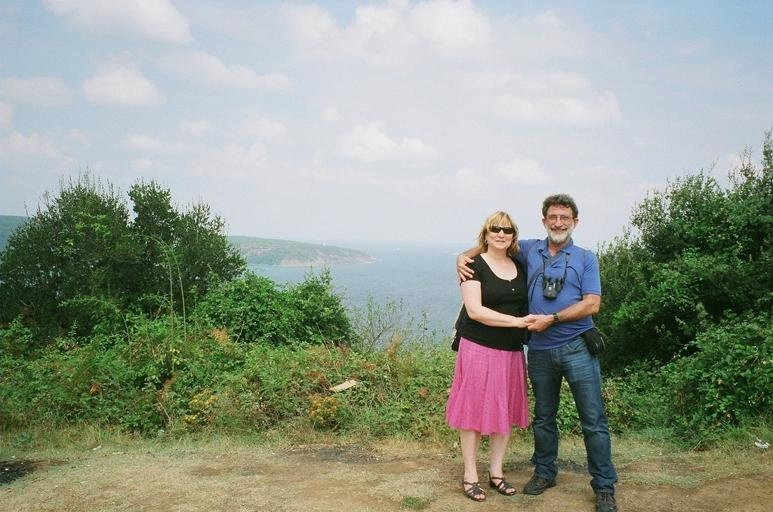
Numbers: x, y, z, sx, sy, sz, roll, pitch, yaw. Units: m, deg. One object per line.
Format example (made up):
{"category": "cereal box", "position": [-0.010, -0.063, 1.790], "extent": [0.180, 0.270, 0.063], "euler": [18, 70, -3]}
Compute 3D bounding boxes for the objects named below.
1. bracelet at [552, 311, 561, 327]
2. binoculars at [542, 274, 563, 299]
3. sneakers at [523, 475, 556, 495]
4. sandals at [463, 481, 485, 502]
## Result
{"category": "bracelet", "position": [2.615, 0.985, 9.265], "extent": [0.115, 0.167, 0.167], "euler": [-12, 21, 0]}
{"category": "binoculars", "position": [2.613, 0.515, 9.377], "extent": [0.313, 0.354, 0.087], "euler": [-1, -2, 13]}
{"category": "sneakers", "position": [2.416, 3.597, 9.439], "extent": [0.528, 0.230, 0.221], "euler": [4, -7, -32]}
{"category": "sandals", "position": [1.368, 3.653, 9.371], "extent": [0.340, 0.279, 0.185], "euler": [-1, -2, 7]}
